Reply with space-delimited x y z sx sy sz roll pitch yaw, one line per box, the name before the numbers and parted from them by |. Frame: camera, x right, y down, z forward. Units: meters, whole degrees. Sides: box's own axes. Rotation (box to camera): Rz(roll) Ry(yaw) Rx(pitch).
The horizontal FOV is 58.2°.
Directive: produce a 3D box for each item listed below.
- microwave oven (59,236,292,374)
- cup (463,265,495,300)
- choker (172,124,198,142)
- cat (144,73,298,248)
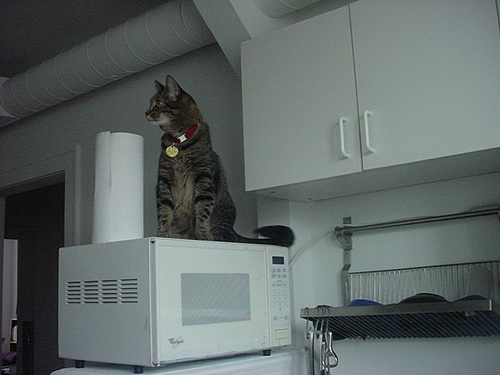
microwave oven | -0.242 0.322 1.670 0.704 0.465 0.536 -7 -7 44
cup | 0.776 0.322 1.522 0.096 0.115 0.069 -6 -11 25
choker | -0.314 -0.253 2.160 0.025 0.086 0.086 40 -49 -8
cat | -0.168 -0.094 2.301 0.841 0.797 0.443 11 -18 -29
